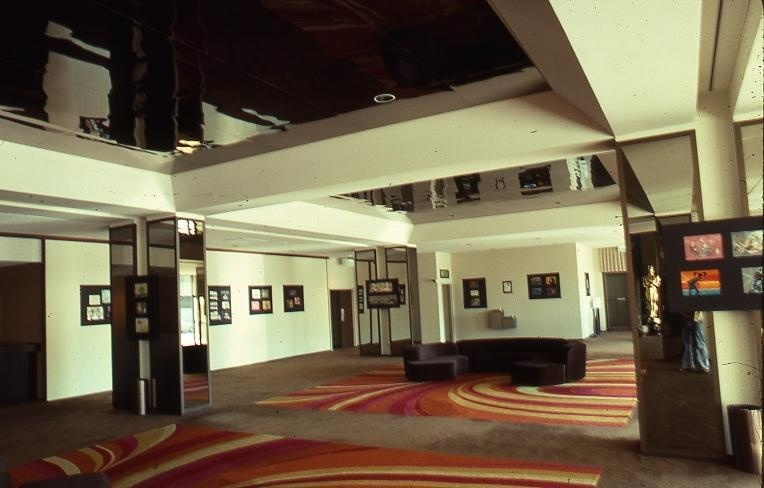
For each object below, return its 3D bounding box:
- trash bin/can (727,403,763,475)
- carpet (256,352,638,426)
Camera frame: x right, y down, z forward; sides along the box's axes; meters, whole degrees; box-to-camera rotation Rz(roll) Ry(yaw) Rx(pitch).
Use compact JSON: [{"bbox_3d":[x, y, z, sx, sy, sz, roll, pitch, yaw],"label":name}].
[{"bbox_3d":[4.855,2.626,7.143,0.343,1.004,0.166,-4,-1,31],"label":"trash bin/can"},{"bbox_3d":[1.874,3.200,11.889,6.829,0.277,4.700,-3,0,22],"label":"carpet"}]
